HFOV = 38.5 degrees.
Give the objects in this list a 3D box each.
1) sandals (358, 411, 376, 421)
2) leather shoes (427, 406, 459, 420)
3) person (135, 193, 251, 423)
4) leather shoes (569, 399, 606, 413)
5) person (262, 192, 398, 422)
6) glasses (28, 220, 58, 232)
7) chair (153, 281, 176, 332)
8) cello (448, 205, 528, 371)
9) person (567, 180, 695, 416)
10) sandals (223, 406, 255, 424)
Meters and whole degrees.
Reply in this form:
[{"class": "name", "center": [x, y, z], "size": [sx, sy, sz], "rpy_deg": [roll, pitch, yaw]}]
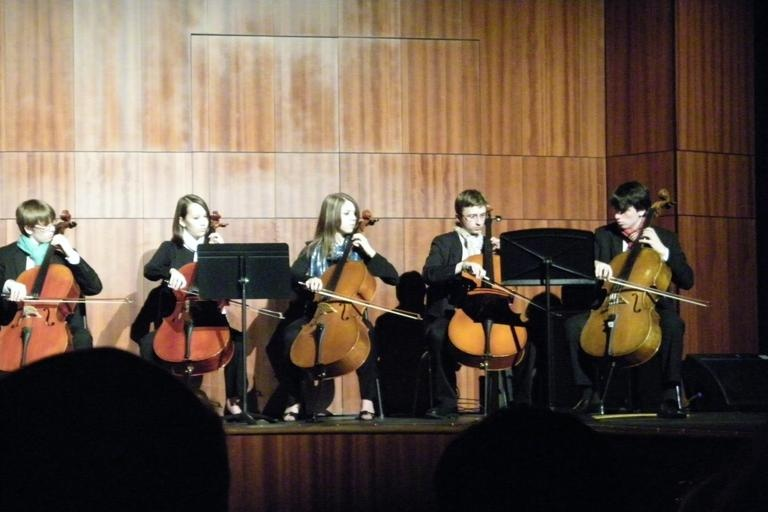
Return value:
[{"class": "sandals", "center": [-0.144, 1.274, 8.774], "size": [0.133, 0.085, 0.241], "rpy_deg": [-1, 3, 0]}, {"class": "leather shoes", "center": [0.458, 1.256, 8.719], "size": [0.258, 0.107, 0.092], "rpy_deg": [1, -8, 7]}, {"class": "person", "center": [-1.579, 0.269, 9.119], "size": [0.888, 2.095, 0.647], "rpy_deg": [-2, -43, 1]}, {"class": "leather shoes", "center": [1.604, 1.185, 8.639], "size": [0.296, 0.122, 0.102], "rpy_deg": [2, -5, -15]}, {"class": "person", "center": [-0.383, 0.462, 9.050], "size": [0.983, 1.906, 0.695], "rpy_deg": [-14, -26, 29]}, {"class": "glasses", "center": [-2.845, -0.221, 9.107], "size": [0.167, 0.070, 0.132], "rpy_deg": [-11, -2, 21]}, {"class": "chair", "center": [-1.774, 0.413, 8.964], "size": [0.222, 0.434, 0.136], "rpy_deg": [-1, -5, 11]}, {"class": "cello", "center": [0.813, 0.308, 8.689], "size": [0.618, 1.246, 0.488], "rpy_deg": [-1, 4, 6]}, {"class": "person", "center": [2.007, 0.376, 8.816], "size": [0.907, 1.946, 0.712], "rpy_deg": [-2, -10, 41]}, {"class": "sandals", "center": [-1.142, 1.262, 8.602], "size": [0.139, 0.065, 0.213], "rpy_deg": [-2, 0, -29]}]
